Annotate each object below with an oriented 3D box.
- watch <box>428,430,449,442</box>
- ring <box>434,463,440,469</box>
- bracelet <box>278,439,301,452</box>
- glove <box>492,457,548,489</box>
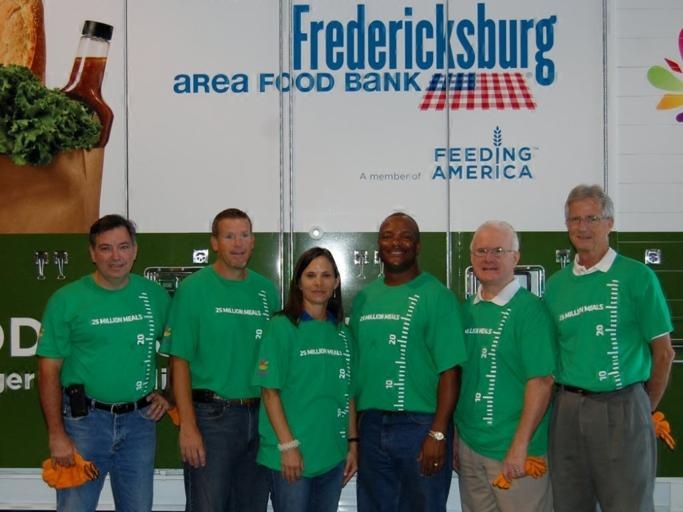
[{"bbox_3d":[0.599,1.134,5.722,0.105,0.068,0.030,0,3,3],"label":"watch"},{"bbox_3d":[0.597,1.323,5.725,0.032,0.036,0.008,1,4,6],"label":"ring"},{"bbox_3d":[-0.337,1.189,5.667,0.113,0.075,0.025,0,3,-3],"label":"bracelet"},{"bbox_3d":[1.143,1.373,5.717,0.271,0.216,0.120,5,-3,-1],"label":"glove"}]
